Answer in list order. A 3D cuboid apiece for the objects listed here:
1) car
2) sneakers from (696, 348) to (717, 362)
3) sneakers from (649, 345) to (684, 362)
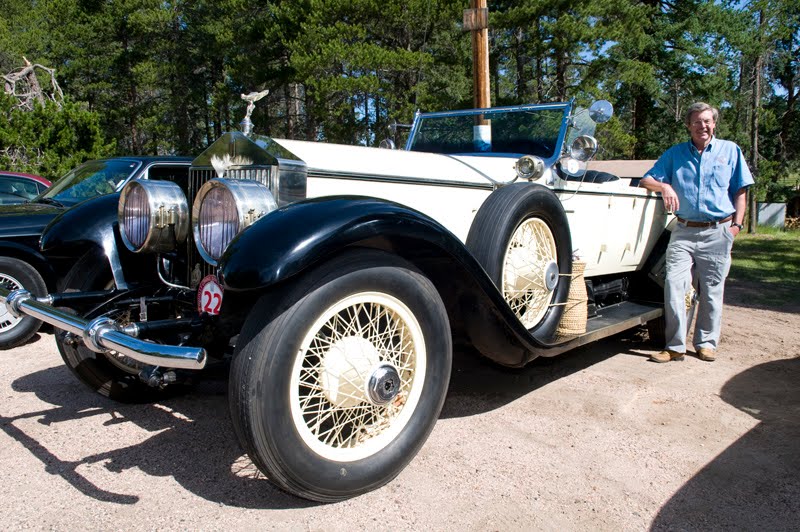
[{"bbox_3d":[-0.221,-0.083,4.928,5.089,2.610,2.339,-7,13,-35],"label":"car"},{"bbox_3d":[3.035,0.889,6.111,0.082,0.103,0.241,1,-5,-21],"label":"sneakers"},{"bbox_3d":[2.601,0.878,6.038,0.325,0.158,0.135,5,-8,-4],"label":"sneakers"}]
